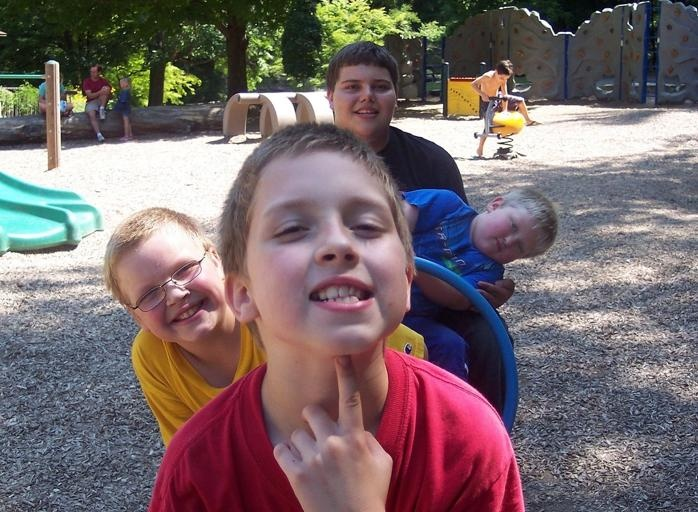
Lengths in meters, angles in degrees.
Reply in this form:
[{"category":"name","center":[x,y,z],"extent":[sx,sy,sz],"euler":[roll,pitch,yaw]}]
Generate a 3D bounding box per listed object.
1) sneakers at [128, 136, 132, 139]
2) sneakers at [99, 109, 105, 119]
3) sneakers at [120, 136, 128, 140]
[{"category":"sneakers","center":[-4.368,-2.376,14.152],"extent":[0.095,0.073,0.439],"euler":[-5,10,-17]},{"category":"sneakers","center":[-4.956,-2.869,14.227],"extent":[0.121,0.229,0.211],"euler":[-5,10,-19]},{"category":"sneakers","center":[-4.492,-2.366,14.130],"extent":[0.131,0.090,0.576],"euler":[-5,10,-17]}]
